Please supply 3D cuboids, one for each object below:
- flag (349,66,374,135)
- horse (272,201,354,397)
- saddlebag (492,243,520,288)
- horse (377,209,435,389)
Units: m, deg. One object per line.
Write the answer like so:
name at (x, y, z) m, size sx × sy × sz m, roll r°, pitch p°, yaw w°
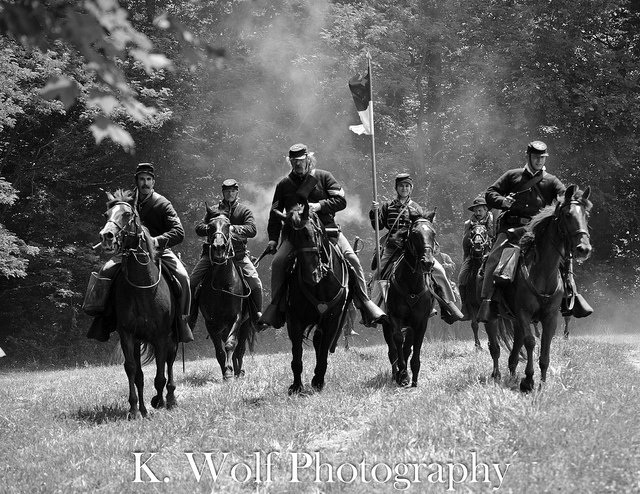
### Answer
flag at (1.026, -3.658, 22.034) m, size 0.764 × 1.863 × 0.438 m, roll -4°, pitch 8°, yaw 2°
horse at (-0.135, 0.891, 15.165) m, size 1.028 × 3.362 × 1.695 m, roll 0°, pitch 3°, yaw 15°
saddlebag at (3.151, 0.285, 15.306) m, size 0.433 × 0.632 × 1.105 m, roll -17°, pitch 13°, yaw 14°
horse at (1.613, 0.986, 16.428) m, size 1.075 × 3.372 × 1.792 m, roll 0°, pitch 3°, yaw 4°
